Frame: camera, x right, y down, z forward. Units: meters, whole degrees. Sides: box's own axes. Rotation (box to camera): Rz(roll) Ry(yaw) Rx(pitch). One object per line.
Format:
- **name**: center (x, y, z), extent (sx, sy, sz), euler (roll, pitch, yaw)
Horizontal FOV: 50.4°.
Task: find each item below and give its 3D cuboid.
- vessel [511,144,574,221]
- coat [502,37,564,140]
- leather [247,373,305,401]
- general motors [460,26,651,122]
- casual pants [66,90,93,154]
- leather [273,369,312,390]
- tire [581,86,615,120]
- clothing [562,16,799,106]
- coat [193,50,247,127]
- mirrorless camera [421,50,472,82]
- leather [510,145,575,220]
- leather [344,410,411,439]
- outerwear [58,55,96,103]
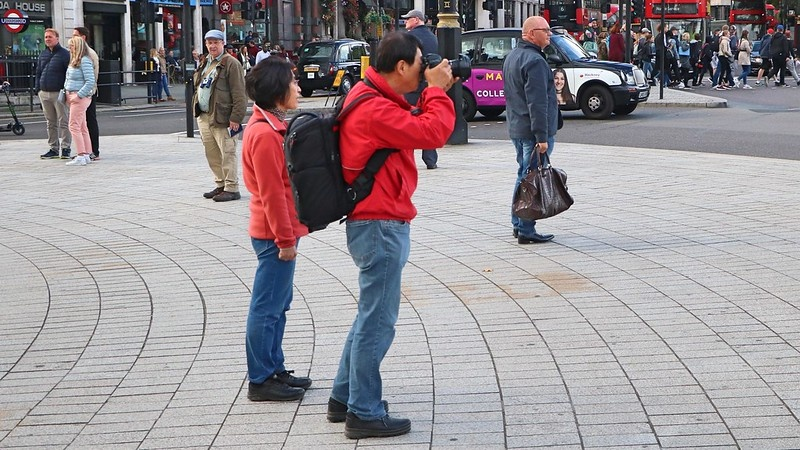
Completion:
- **vessel**: center (1.753, -0.539, 10.375), extent (0.414, 0.881, 0.964), euler (13, 22, 37)
- **coat**: center (1.616, -1.655, 10.529), extent (0.657, 1.227, 0.570), euler (2, 13, 12)
- **leather**: center (-1.043, 1.391, 7.232), extent (0.299, 0.107, 0.320), euler (-1, 4, -1)
- **general motors**: center (4.168, -4.086, 23.203), extent (5.237, 1.945, 2.636), euler (-1, 6, 5)
- **casual pants**: center (-6.184, -1.941, 16.472), extent (0.441, 1.254, 0.747), euler (-5, 13, -19)
- **leather**: center (-0.896, 1.325, 7.329), extent (0.371, 0.133, 0.124), euler (3, 13, -6)
- **tire**: center (5.335, -3.316, 22.769), extent (0.985, 0.872, 0.388), euler (3, 10, 27)
- **clothing**: center (8.814, -4.682, 26.615), extent (5.590, 1.385, 3.674), euler (-1, 8, -7)
- **coat**: center (-2.644, -2.033, 12.829), extent (0.974, 1.093, 0.545), euler (11, 17, 44)
- **mirrorless camera**: center (0.373, -1.248, 6.667), extent (0.307, 0.155, 0.252), euler (-2, 4, 2)
- **leather**: center (1.748, -0.539, 10.405), extent (0.516, 0.882, 0.957), euler (9, 19, 33)
- **leather**: center (-0.186, 1.579, 6.835), extent (0.558, 0.203, 0.188), euler (-2, 9, -9)
- **outerwear**: center (-6.290, -2.852, 16.617), extent (0.609, 0.919, 1.076), euler (-8, 16, -39)
